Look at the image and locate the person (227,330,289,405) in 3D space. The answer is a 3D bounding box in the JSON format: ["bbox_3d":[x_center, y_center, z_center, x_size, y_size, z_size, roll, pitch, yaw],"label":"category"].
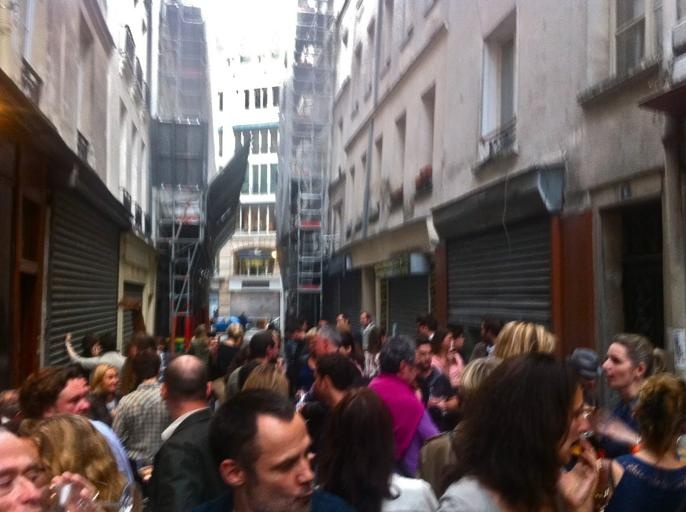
[{"bbox_3d":[-0.848,1.046,5.843,0.405,0.846,0.816,15,-13,-33],"label":"person"}]

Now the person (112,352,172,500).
[{"bbox_3d":[-1.734,1.625,5.460,0.525,1.859,0.501,-4,26,-23],"label":"person"}]

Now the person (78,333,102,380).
[{"bbox_3d":[-3.207,1.277,7.826,0.215,0.215,0.760,-14,-40,-35],"label":"person"}]
